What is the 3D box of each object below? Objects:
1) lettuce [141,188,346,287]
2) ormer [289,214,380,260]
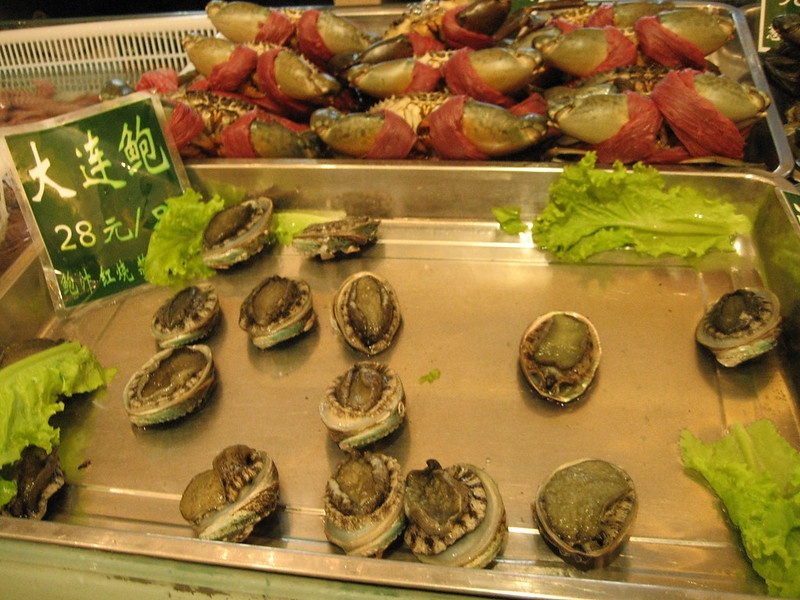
[{"bbox_3d":[-0.727,-0.285,2.688,0.629,0.172,0.411,-25,49,-32],"label":"lettuce"},{"bbox_3d":[-0.262,-0.263,2.618,0.248,0.095,0.207,6,23,16],"label":"ormer"}]
